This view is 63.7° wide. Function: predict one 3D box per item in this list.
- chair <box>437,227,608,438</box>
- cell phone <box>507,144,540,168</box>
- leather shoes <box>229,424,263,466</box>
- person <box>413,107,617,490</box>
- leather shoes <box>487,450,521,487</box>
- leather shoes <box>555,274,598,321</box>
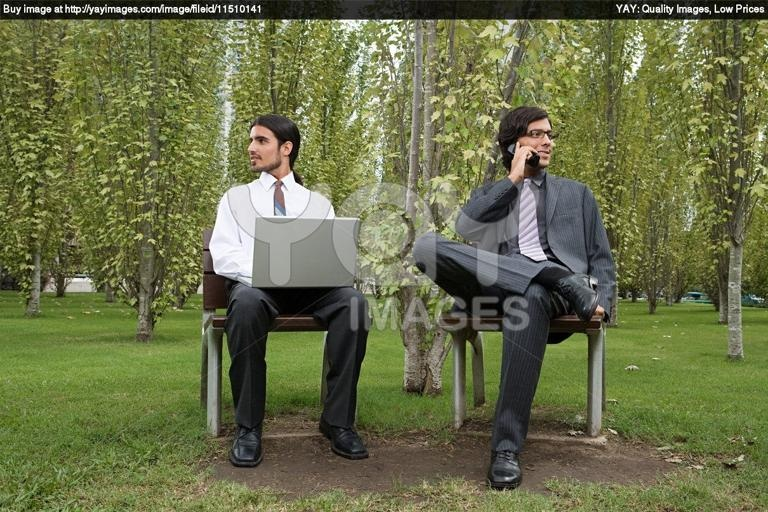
[{"bbox_3d":[1.358,1.033,5.720,1.346,0.940,1.299,-2,-3,22],"label":"chair"},{"bbox_3d":[1.212,-0.871,5.350,0.247,0.175,0.110,11,42,27],"label":"cell phone"},{"bbox_3d":[-1.112,1.519,4.980,0.262,0.269,0.257,-2,6,-10],"label":"leather shoes"},{"bbox_3d":[1.166,0.197,5.142,1.443,2.966,1.124,-5,8,-35],"label":"person"},{"bbox_3d":[0.919,1.610,4.696,0.252,0.230,0.258,1,6,11],"label":"leather shoes"},{"bbox_3d":[1.528,0.311,4.875,0.220,0.182,0.499,-1,16,-4],"label":"leather shoes"}]
